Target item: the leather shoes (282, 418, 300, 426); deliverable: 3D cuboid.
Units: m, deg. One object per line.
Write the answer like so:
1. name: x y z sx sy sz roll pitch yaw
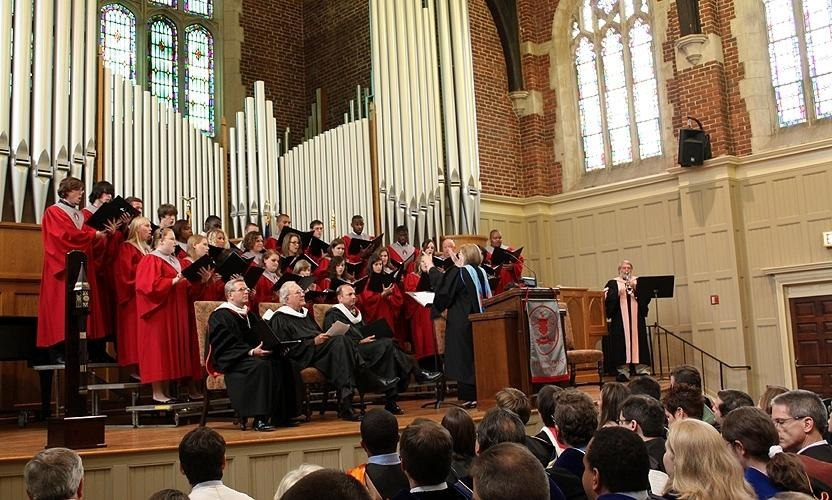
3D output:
1. leather shoes: -1.488 2.032 8.945 0.157 0.084 0.314 -1 -9 -8

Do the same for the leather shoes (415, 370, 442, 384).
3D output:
1. leather shoes: 0.166 1.685 10.166 0.379 0.159 0.198 -5 -2 5

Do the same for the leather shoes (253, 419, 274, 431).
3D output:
1. leather shoes: -1.757 1.983 8.569 0.260 0.106 0.101 -3 -8 18

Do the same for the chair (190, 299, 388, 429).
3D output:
1. chair: -1.554 1.304 9.476 2.385 1.386 0.975 0 -9 -18

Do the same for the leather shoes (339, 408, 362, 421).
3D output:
1. leather shoes: -0.810 1.977 9.156 0.321 0.120 0.120 -10 -10 43
